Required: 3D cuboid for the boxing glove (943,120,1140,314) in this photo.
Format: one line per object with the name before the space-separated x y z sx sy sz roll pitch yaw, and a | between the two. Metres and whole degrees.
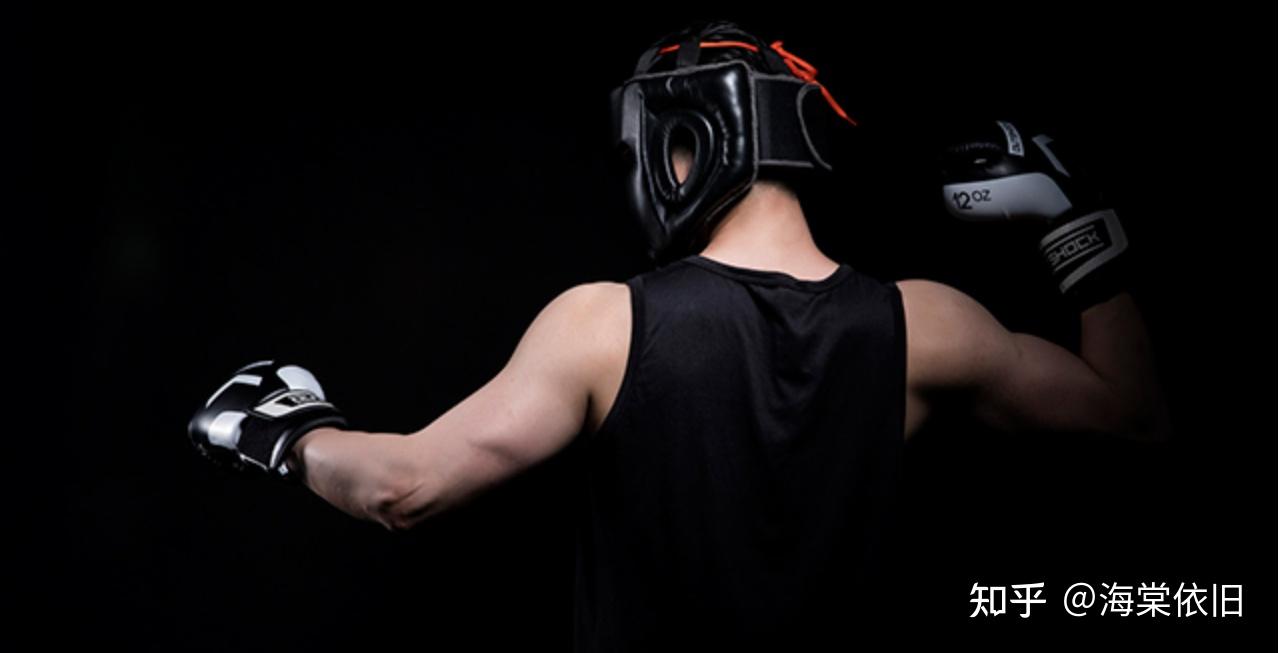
boxing glove | 1.696 -0.442 4.334 0.267 0.692 0.535 -34 -13 28
